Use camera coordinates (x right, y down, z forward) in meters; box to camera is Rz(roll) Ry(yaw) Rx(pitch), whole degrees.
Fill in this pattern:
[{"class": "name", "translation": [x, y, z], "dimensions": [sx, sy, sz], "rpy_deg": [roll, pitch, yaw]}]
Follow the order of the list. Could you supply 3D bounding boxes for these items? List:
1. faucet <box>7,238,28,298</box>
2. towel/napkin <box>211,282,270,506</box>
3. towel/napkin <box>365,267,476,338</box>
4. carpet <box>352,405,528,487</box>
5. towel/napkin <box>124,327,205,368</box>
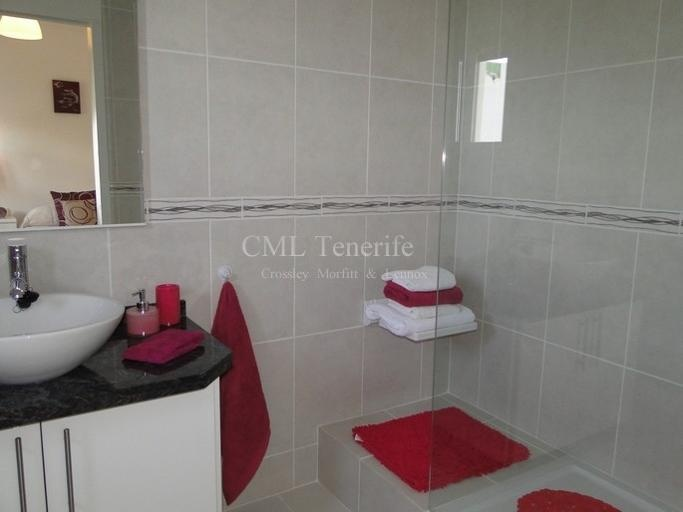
[{"class": "faucet", "translation": [-1.157, 0.038, 1.894], "dimensions": [0.068, 0.208, 0.169], "rpy_deg": [-9, 13, -30]}, {"class": "towel/napkin", "translation": [-0.449, 0.582, 2.328], "dimensions": [0.228, 0.922, 0.231], "rpy_deg": [-6, 12, -19]}, {"class": "towel/napkin", "translation": [0.391, 0.190, 2.402], "dimensions": [0.331, 0.219, 0.335], "rpy_deg": [-6, 12, -29]}, {"class": "carpet", "translation": [0.433, 0.820, 2.177], "dimensions": [0.443, 0.057, 0.466], "rpy_deg": [-9, 13, -25]}, {"class": "towel/napkin", "translation": [-0.628, 0.319, 1.896], "dimensions": [0.183, 0.060, 0.265], "rpy_deg": [2, 12, 23]}]
